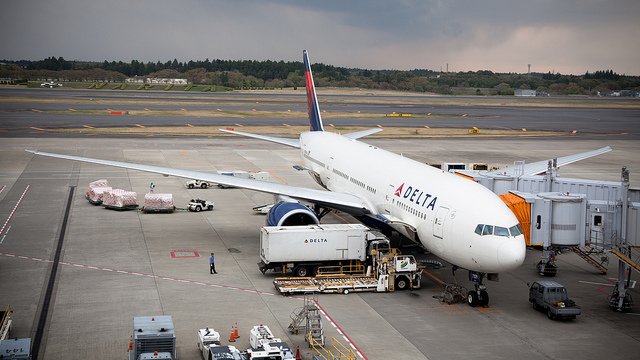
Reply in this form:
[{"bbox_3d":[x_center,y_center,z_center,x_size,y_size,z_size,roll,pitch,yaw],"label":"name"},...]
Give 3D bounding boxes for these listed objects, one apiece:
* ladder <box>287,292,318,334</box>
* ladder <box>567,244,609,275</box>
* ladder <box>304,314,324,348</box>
[{"bbox_3d":[-1.183,8.886,36.596,2.497,2.325,1.588,1,-2,-2],"label":"ladder"},{"bbox_3d":[20.831,6.245,43.023,0.731,3.512,1.374,-50,8,37],"label":"ladder"},{"bbox_3d":[-0.351,9.408,35.026,1.167,1.467,3.149,-3,6,-9],"label":"ladder"}]
